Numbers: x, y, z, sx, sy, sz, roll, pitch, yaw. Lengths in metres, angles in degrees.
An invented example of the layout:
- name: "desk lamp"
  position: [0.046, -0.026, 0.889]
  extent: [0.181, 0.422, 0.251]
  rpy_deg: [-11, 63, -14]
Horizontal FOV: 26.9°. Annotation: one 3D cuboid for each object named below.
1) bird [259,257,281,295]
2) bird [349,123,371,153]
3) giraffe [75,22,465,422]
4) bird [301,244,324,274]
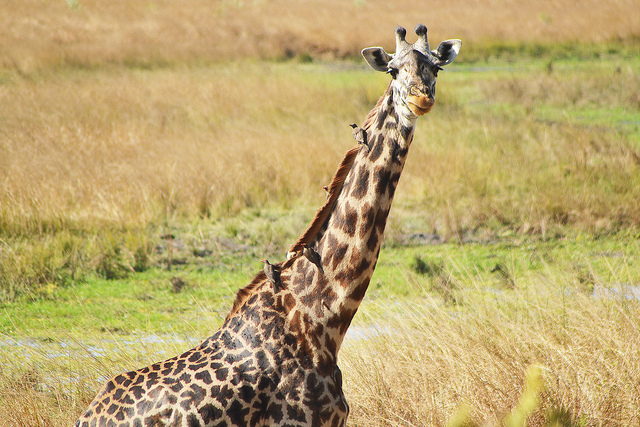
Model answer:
- name: "bird"
  position: [-0.850, 0.954, 22.031]
  extent: [0.333, 0.212, 0.634]
  rpy_deg: [18, 59, -36]
- name: "bird"
  position: [0.609, -1.267, 21.962]
  extent: [0.299, 0.187, 0.605]
  rpy_deg: [20, 47, -56]
- name: "giraffe"
  position: [-0.371, 0.375, 21.404]
  extent: [5.561, 5.731, 1.816]
  rpy_deg: [-11, 28, -24]
- name: "bird"
  position: [-0.054, 0.687, 21.926]
  extent: [0.593, 0.185, 0.333]
  rpy_deg: [63, 12, 3]
